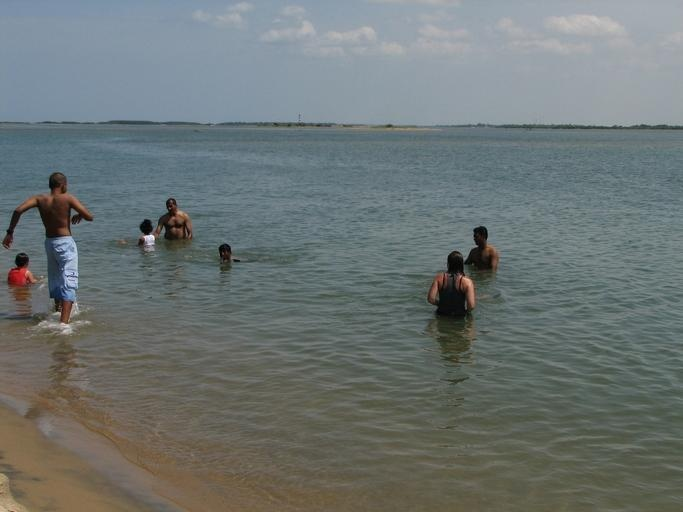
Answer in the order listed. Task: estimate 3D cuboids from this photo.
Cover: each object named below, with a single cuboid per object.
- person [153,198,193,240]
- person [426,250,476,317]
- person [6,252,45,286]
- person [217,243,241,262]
[{"bbox_3d":[-5.623,-1.273,26.198,1.162,1.394,1.154,1,12,-10],"label":"person"},{"bbox_3d":[2.645,0.651,18.504,1.091,1.481,0.630,6,13,13],"label":"person"},{"bbox_3d":[-8.359,0.384,20.594,1.016,1.091,0.863,4,11,-2],"label":"person"},{"bbox_3d":[-3.338,-0.138,23.495,0.628,0.547,0.921,1,11,-8],"label":"person"}]
